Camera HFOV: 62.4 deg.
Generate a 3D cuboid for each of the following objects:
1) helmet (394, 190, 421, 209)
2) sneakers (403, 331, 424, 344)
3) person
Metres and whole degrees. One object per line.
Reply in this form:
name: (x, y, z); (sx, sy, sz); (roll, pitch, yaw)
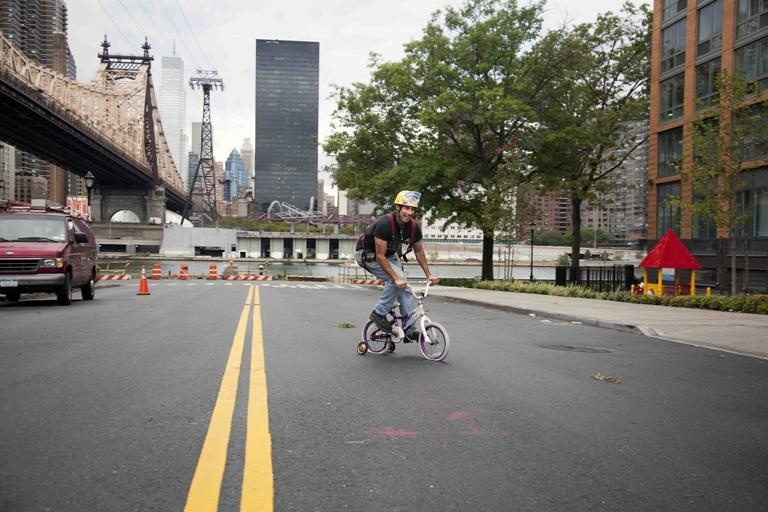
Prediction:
helmet: (0.294, -0.891, 9.505); (0.419, 0.233, 0.333); (-2, -2, 40)
sneakers: (0.459, 1.284, 9.882); (0.149, 0.142, 0.282); (3, -12, -43)
person: (0.111, 0.155, 9.691); (0.992, 2.183, 0.770); (1, -1, 7)
